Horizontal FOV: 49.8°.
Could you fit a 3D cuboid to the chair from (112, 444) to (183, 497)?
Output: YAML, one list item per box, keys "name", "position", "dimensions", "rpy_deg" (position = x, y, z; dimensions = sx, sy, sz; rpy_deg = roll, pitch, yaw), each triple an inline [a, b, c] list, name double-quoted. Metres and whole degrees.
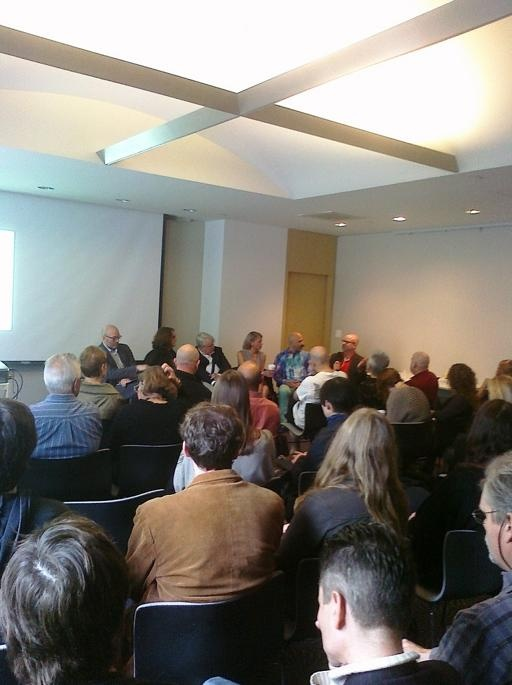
- name: "chair"
  position: [-0.603, 0.675, 3.077]
  dimensions: [0.317, 0.374, 0.335]
  rpy_deg: [0, 3, -31]

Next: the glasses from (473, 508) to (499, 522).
- name: "glasses"
  position: [0.547, 0.412, 1.315]
  dimensions: [0.065, 0.020, 0.061]
  rpy_deg: [6, -8, -7]
